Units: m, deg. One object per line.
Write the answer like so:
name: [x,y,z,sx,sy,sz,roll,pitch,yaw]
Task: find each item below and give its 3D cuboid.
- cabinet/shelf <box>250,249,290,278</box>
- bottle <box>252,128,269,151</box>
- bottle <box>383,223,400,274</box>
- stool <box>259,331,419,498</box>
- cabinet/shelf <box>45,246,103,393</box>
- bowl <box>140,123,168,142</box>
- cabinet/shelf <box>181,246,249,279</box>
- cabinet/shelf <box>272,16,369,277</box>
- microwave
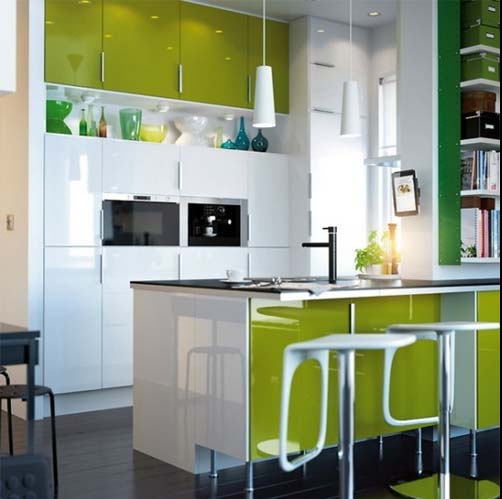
cabinet/shelf: [0.185,0.120,5.414,0.518,0.294,0.136,2,-4,-43]
bottle: [0.083,-1.148,5.645,0.166,0.301,0.242,1,-3,-16]
bottle: [1.064,-0.009,4.115,0.114,0.395,0.330,-1,-3,14]
stool: [0.283,0.542,2.173,0.585,0.859,0.543,-1,3,-18]
cabinet/shelf: [-1.424,0.558,4.333,0.459,1.206,0.121,2,-28,-23]
bowl: [-0.901,-1.105,5.120,0.171,0.168,0.238,-3,-5,44]
cabinet/shelf: [-0.328,0.114,5.047,0.749,0.304,0.096,2,-4,-41]
cabinet/shelf: [0.821,-0.779,5.831,0.675,3.218,0.367,-7,16,-21]
microwave: [-1.062,-0.192,4.795,0.490,0.547,0.846,-6,-3,44]
